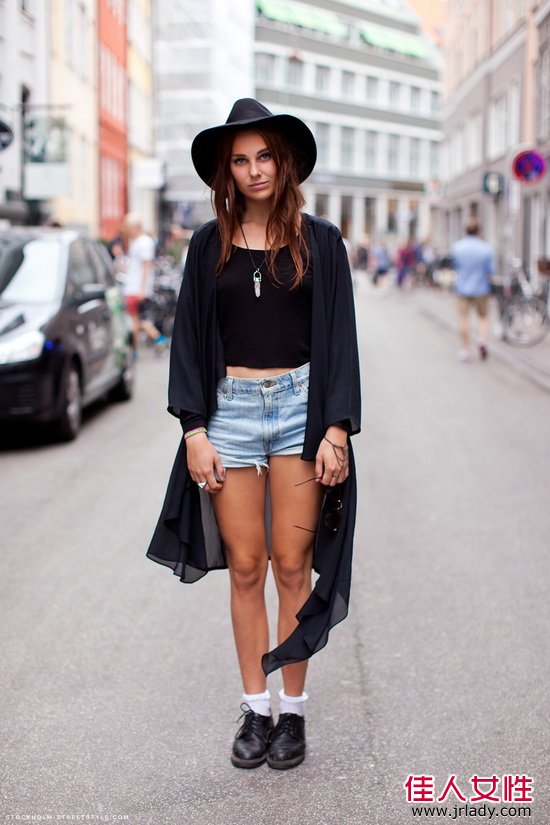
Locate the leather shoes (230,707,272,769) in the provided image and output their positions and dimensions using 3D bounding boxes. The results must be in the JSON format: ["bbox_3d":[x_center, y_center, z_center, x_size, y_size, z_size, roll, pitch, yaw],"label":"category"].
[{"bbox_3d":[-0.050,0.823,1.846,0.072,0.105,0.230,-2,-2,13],"label":"leather shoes"}]

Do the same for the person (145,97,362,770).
[{"bbox_3d":[-0.046,0.073,1.755,0.435,1.599,0.457,1,-2,-37],"label":"person"}]

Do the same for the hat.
[{"bbox_3d":[-0.051,-0.687,1.687,0.193,0.108,0.237,-6,3,18],"label":"hat"}]

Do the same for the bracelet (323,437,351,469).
[{"bbox_3d":[0.142,0.094,1.678,0.060,0.036,0.051,7,-1,43],"label":"bracelet"}]

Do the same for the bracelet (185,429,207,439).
[{"bbox_3d":[-0.196,0.051,1.719,0.060,0.027,0.030,-1,-1,18],"label":"bracelet"}]

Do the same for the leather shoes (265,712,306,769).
[{"bbox_3d":[0.038,0.826,1.819,0.081,0.105,0.253,-3,-12,9],"label":"leather shoes"}]

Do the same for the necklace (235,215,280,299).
[{"bbox_3d":[-0.053,-0.355,1.671,0.028,0.184,0.085,1,-2,-37],"label":"necklace"}]
